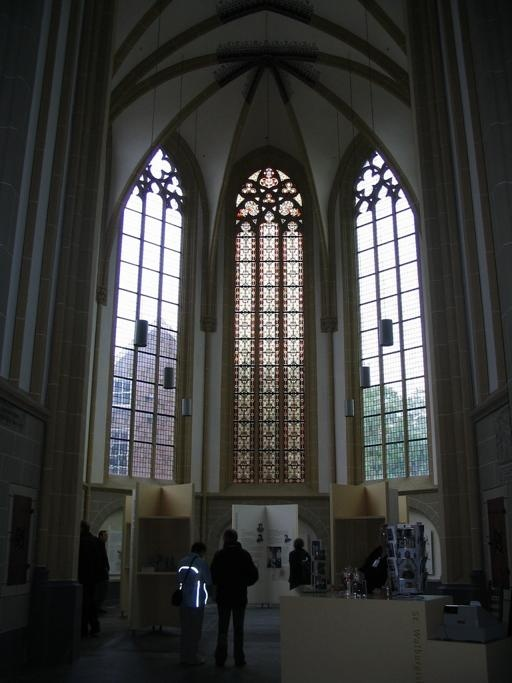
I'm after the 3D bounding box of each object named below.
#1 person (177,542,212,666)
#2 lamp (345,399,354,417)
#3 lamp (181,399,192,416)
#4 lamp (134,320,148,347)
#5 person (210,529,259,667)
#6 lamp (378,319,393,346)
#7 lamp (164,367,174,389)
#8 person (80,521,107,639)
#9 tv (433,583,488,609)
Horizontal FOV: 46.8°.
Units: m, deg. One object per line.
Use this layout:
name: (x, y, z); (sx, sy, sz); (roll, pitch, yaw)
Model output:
person: (-0.600, 2.457, 5.620); (0.305, 1.035, 0.426); (1, -15, -7)
lamp: (2.010, 1.426, 12.820); (0.139, 0.392, 0.391); (-6, -17, 18)
lamp: (-1.518, 1.405, 12.723); (0.159, 0.342, 0.158); (5, -16, -21)
lamp: (-1.900, -0.151, 9.764); (0.193, 0.482, 0.559); (3, -17, -12)
person: (-0.236, 2.416, 5.640); (0.459, 1.187, 0.661); (-3, -15, 8)
lamp: (2.036, -0.131, 9.305); (0.178, 0.418, 0.328); (-2, -16, 5)
lamp: (-1.717, 0.701, 11.581); (0.187, 0.419, 0.156); (8, -17, -29)
person: (-2.079, 2.948, 7.374); (0.290, 1.345, 1.143); (1, -16, -7)
tv: (1.860, 2.291, 5.341); (0.421, 0.189, 0.527); (-7, -19, 19)
